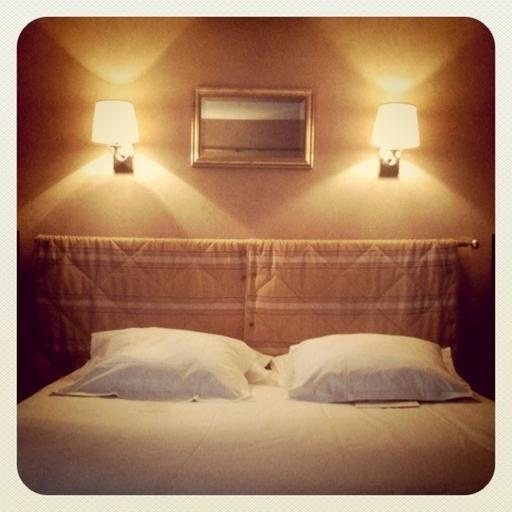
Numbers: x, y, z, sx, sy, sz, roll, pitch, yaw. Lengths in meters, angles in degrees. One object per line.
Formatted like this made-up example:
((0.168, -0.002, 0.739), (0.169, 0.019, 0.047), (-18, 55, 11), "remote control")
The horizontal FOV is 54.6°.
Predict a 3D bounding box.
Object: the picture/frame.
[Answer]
((-0.012, -0.431, 1.668), (0.405, 0.202, 0.141), (1, -29, 1), "picture/frame")
